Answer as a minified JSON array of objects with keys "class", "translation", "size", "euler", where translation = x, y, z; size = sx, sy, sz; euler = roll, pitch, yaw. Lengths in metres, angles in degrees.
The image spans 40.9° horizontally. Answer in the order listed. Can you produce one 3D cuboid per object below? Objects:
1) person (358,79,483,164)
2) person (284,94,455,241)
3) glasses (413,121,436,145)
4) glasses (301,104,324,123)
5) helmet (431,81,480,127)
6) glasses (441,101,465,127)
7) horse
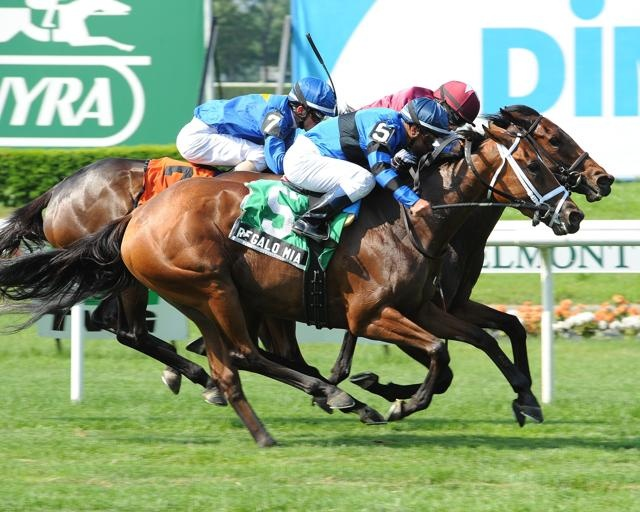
[{"class":"person","translation":[0.346,-0.669,4.401],"size":[1.007,0.324,0.205],"euler":[-9,11,-22]},{"class":"person","translation":[0.218,-0.424,4.171],"size":[0.797,0.705,0.371],"euler":[1,4,4]},{"class":"glasses","translation":[0.527,-0.612,4.236],"size":[0.128,0.090,0.078],"euler":[-25,30,8]},{"class":"glasses","translation":[-0.046,-0.749,4.481],"size":[0.122,0.049,0.080],"euler":[22,10,5]},{"class":"helmet","translation":[0.729,-0.807,4.547],"size":[0.238,0.215,0.272],"euler":[36,25,-1]},{"class":"glasses","translation":[0.669,-0.747,4.526],"size":[0.196,0.094,0.149],"euler":[-3,25,0]},{"class":"horse","translation":[-0.107,0.065,4.460],"size":[2.964,1.653,0.897],"euler":[1,4,0]}]
